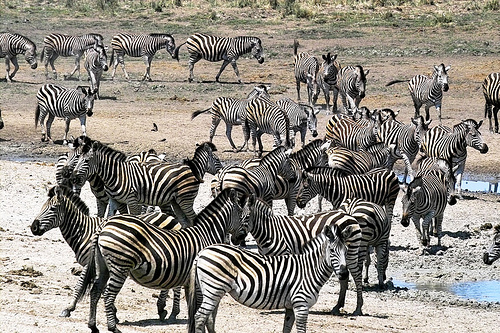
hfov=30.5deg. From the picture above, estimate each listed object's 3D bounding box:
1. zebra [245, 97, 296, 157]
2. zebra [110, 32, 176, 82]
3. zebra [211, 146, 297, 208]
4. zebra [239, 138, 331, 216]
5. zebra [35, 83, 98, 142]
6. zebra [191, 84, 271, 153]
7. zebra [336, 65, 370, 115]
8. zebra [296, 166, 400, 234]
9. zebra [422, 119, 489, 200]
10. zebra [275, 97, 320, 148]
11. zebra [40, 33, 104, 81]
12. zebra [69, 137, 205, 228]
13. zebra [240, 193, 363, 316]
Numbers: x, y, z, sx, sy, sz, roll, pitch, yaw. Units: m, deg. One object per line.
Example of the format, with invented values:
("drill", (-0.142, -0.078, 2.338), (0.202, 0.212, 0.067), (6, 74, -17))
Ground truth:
("zebra", (0.340, -1.061, 26.432), (2.498, 1.443, 0.688), (11, -7, -43))
("zebra", (-4.420, -4.640, 37.690), (2.900, 2.007, 0.907), (5, 10, 11))
("zebra", (0.101, 0.406, 20.549), (2.319, 1.621, 0.758), (-6, 9, -40))
("zebra", (0.818, 0.352, 21.637), (2.650, 1.902, 0.794), (-12, 35, -15))
("zebra", (-5.585, -1.684, 28.125), (2.771, 1.882, 0.808), (7, 8, 39))
("zebra", (-0.531, -1.554, 27.449), (2.966, 2.030, 0.622), (6, 11, 36))
("zebra", (3.492, -2.707, 31.378), (0.756, 1.830, 2.662), (-3, 15, -7))
("zebra", (2.183, 0.817, 20.510), (2.674, 1.904, 0.785), (-5, 11, -30))
("zebra", (5.316, -0.269, 24.431), (0.863, 2.160, 2.851), (-3, 8, -18))
("zebra", (1.352, -1.335, 27.491), (0.667, 1.554, 2.458), (-4, 20, -24))
("zebra", (-7.073, -4.530, 36.798), (2.694, 1.883, 0.718), (1, 5, 2))
("zebra", (-2.331, 0.532, 19.707), (2.990, 1.948, 0.944), (-1, 8, -21))
("zebra", (0.825, 1.746, 18.012), (2.918, 2.348, 0.807), (0, -5, -21))
